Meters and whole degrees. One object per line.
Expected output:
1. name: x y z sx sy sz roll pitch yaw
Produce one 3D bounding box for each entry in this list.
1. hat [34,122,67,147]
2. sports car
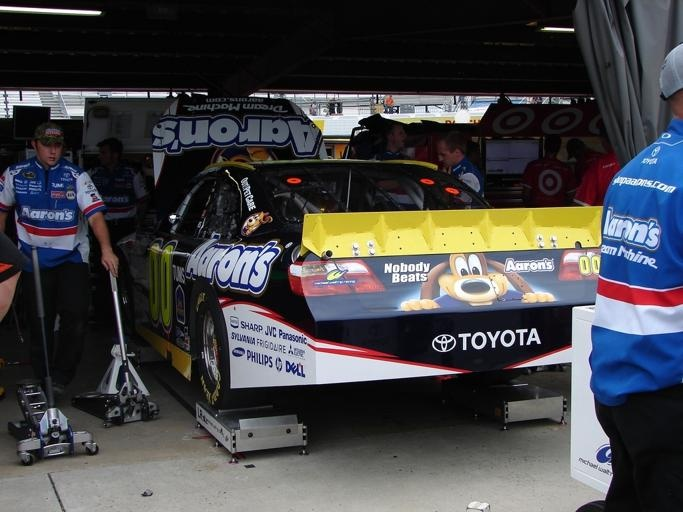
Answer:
1. hat: -2.579 -1.079 5.280 0.233 0.218 0.281 -4 6 -28
2. sports car: -0.390 -0.279 5.214 1.931 1.764 3.755 -1 4 -26
